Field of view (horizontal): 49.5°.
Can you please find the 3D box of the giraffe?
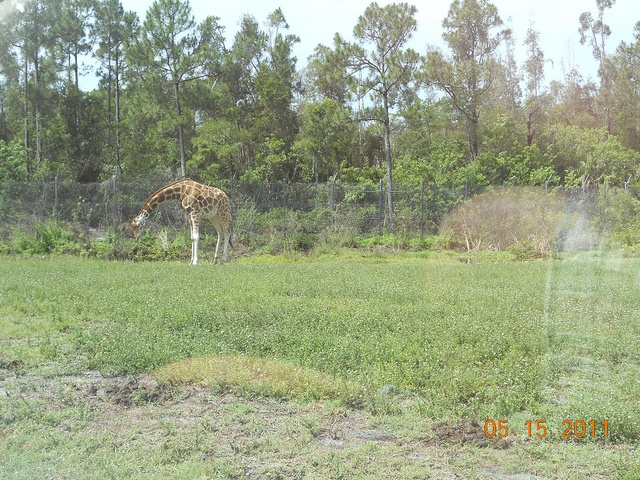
[{"bbox_3d":[-4.996,-0.737,24.698,3.270,2.877,4.811,-3,9,-17],"label":"giraffe"}]
